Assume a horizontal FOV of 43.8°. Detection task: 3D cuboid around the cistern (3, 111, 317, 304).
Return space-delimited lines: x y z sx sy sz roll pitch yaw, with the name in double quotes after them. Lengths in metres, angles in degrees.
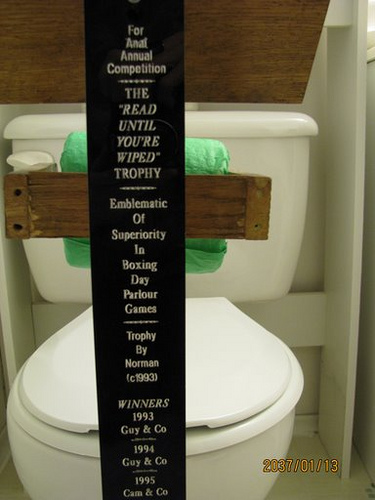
-0.048 -0.103 0.959 0.506 0.309 0.330 -2 14 -2 "cistern"
